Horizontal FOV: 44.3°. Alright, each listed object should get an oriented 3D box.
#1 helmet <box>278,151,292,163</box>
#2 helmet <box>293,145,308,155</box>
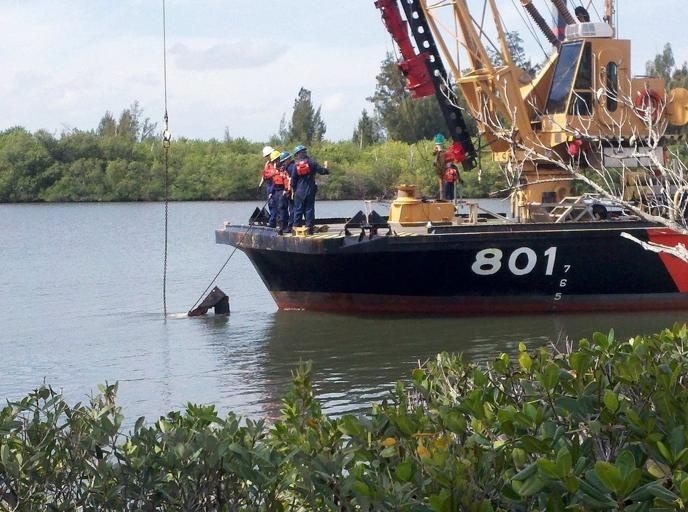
[{"bbox_3d":[-1.103,-1.882,15.777,0.165,0.180,0.208,-36,9,-38],"label":"helmet"},{"bbox_3d":[-0.782,-1.832,14.785,0.210,0.162,0.285,-13,13,-17],"label":"helmet"}]
